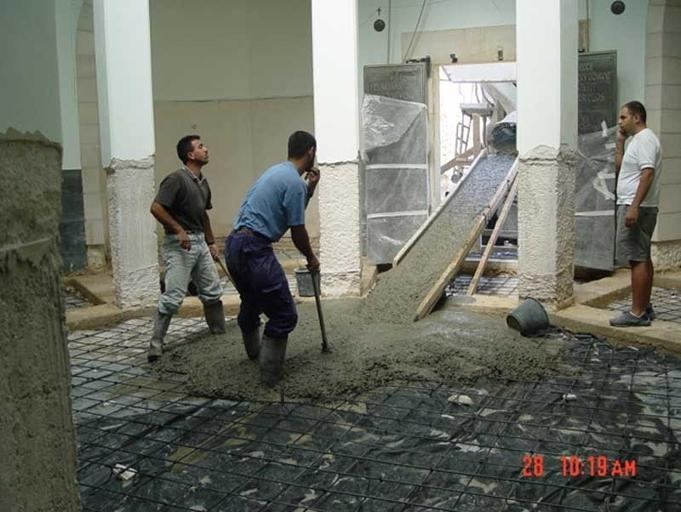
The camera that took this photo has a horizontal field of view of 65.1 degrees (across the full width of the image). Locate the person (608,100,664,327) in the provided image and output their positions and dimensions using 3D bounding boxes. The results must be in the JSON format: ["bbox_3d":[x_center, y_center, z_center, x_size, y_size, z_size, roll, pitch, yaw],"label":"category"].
[{"bbox_3d":[2.652,-0.384,4.750,0.404,1.929,0.818,4,14,27],"label":"person"}]

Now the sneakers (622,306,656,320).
[{"bbox_3d":[2.684,0.512,4.767,0.306,0.131,0.106,3,14,22],"label":"sneakers"}]

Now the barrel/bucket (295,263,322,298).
[{"bbox_3d":[-0.386,0.309,5.959,0.382,0.315,0.397,-4,14,1],"label":"barrel/bucket"}]

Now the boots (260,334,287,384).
[{"bbox_3d":[-0.487,0.736,3.818,0.160,0.348,0.343,3,8,12],"label":"boots"}]

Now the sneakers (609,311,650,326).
[{"bbox_3d":[2.538,0.561,4.737,0.376,0.159,0.140,2,3,11],"label":"sneakers"}]

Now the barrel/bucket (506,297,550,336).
[{"bbox_3d":[1.719,0.566,4.861,0.265,0.276,0.417,8,16,37],"label":"barrel/bucket"}]

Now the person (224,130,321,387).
[{"bbox_3d":[-0.487,0.016,3.887,0.681,1.776,0.521,-3,13,-3],"label":"person"}]

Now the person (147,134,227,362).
[{"bbox_3d":[-1.408,-0.111,4.719,0.397,1.844,0.899,1,13,18],"label":"person"}]
